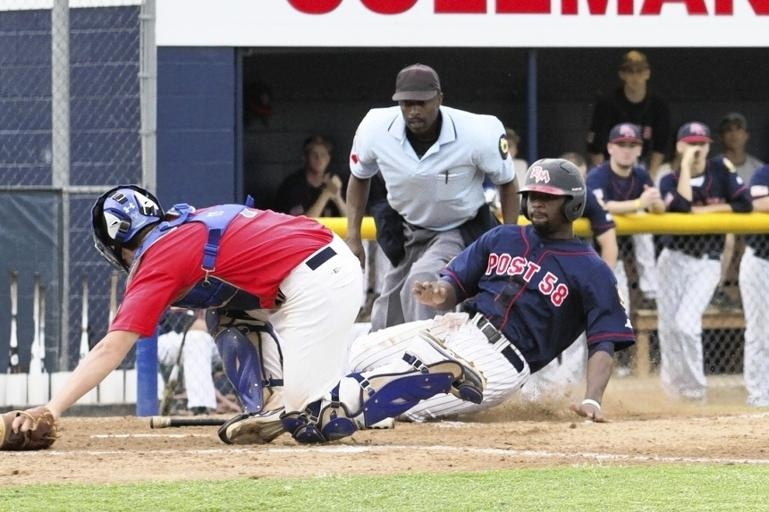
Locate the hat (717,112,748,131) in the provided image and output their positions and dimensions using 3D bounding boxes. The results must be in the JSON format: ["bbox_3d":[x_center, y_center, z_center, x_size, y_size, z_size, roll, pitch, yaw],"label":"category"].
[{"bbox_3d":[2.942,-1.136,13.609,0.174,0.141,0.180,-1,-4,10],"label":"hat"}]

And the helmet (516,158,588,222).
[{"bbox_3d":[1.098,-0.431,10.672,0.337,0.344,0.456,10,17,35],"label":"helmet"}]

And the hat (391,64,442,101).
[{"bbox_3d":[0.257,-1.205,11.157,0.226,0.168,0.302,3,12,18],"label":"hat"}]

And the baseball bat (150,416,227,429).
[{"bbox_3d":[-1.405,1.191,11.346,0.651,0.104,0.102,1,8,-18],"label":"baseball bat"}]

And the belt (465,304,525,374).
[{"bbox_3d":[0.738,0.564,10.727,0.094,0.408,0.239,-40,-34,6],"label":"belt"}]

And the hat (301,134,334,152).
[{"bbox_3d":[-0.601,-0.972,14.289,0.209,0.085,0.185,2,32,-6],"label":"hat"}]

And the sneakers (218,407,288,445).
[{"bbox_3d":[-0.830,1.108,10.545,0.509,0.192,0.233,-1,17,-3],"label":"sneakers"}]
